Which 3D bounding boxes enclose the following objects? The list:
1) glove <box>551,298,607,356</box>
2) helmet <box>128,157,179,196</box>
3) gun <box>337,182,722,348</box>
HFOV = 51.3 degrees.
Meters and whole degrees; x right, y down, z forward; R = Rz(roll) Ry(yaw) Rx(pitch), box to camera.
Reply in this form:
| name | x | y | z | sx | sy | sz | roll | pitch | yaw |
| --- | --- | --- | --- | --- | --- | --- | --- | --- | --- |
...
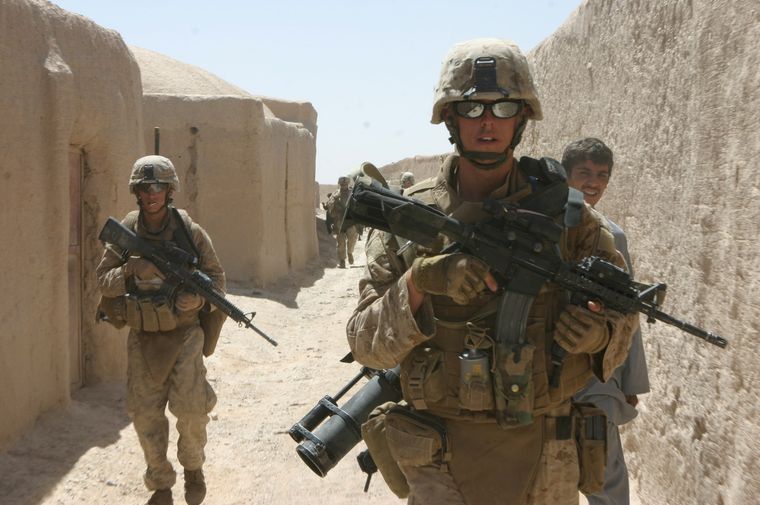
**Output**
| name | x | y | z | sx | sy | sz | roll | pitch | yaw |
| --- | --- | --- | --- | --- | --- | --- | --- | --- | --- |
| glove | 1.173 | 0.453 | 4.646 | 0.301 | 0.337 | 0.192 | -2 | 11 | -36 |
| helmet | -1.984 | -0.705 | 6.851 | 0.346 | 0.278 | 0.360 | 1 | -11 | -23 |
| gun | 0.981 | 0.083 | 4.920 | 2.369 | 0.910 | 0.328 | 22 | -4 | 4 |
